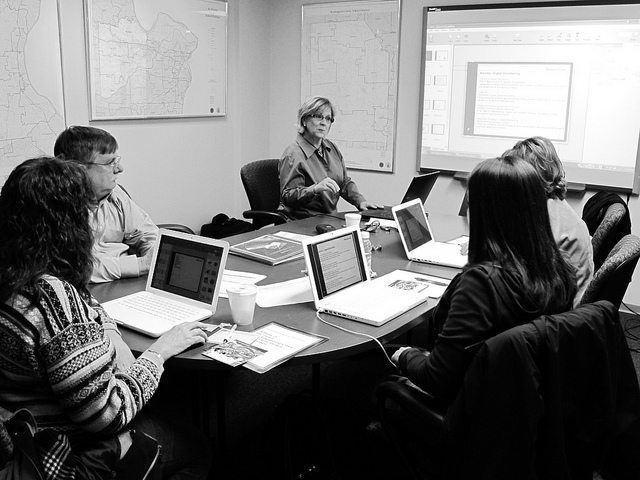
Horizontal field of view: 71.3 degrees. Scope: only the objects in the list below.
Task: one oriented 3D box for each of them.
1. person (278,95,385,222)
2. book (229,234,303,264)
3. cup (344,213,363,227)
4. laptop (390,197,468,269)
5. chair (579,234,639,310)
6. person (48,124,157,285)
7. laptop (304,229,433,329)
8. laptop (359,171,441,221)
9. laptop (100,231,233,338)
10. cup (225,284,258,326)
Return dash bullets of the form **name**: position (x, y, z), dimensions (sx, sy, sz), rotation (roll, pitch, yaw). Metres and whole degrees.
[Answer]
- **person**: position (0.035, -0.645, 3.598), dimensions (0.708, 0.970, 0.679), rotation (1, 12, -7)
- **book**: position (-0.283, 0.046, 2.603), dimensions (0.402, 0.051, 0.384), rotation (12, 15, 34)
- **cup**: position (0.218, -0.137, 2.854), dimensions (0.094, 0.079, 0.097), rotation (0, 12, 0)
- **laptop**: position (0.622, -0.022, 2.577), dimensions (0.366, 0.276, 0.425), rotation (10, 20, 32)
- **chair**: position (1.256, 0.148, 1.919), dimensions (0.349, 0.301, 0.170), rotation (-7, 15, -38)
- **person**: position (-1.086, -0.135, 2.244), dimensions (0.493, 0.838, 0.547), rotation (-7, 21, -24)
- **laptop**: position (0.216, 0.102, 1.887), dimensions (0.397, 0.300, 0.471), rotation (10, 15, 37)
- **laptop**: position (0.585, -0.354, 3.329), dimensions (0.438, 0.306, 0.486), rotation (6, 18, 33)
- **laptop**: position (-0.597, 0.182, 1.774), dimensions (0.448, 0.289, 0.409), rotation (14, 13, 32)
- **cup**: position (-0.300, 0.243, 1.771), dimensions (0.133, 0.135, 0.138), rotation (-1, 17, 0)
